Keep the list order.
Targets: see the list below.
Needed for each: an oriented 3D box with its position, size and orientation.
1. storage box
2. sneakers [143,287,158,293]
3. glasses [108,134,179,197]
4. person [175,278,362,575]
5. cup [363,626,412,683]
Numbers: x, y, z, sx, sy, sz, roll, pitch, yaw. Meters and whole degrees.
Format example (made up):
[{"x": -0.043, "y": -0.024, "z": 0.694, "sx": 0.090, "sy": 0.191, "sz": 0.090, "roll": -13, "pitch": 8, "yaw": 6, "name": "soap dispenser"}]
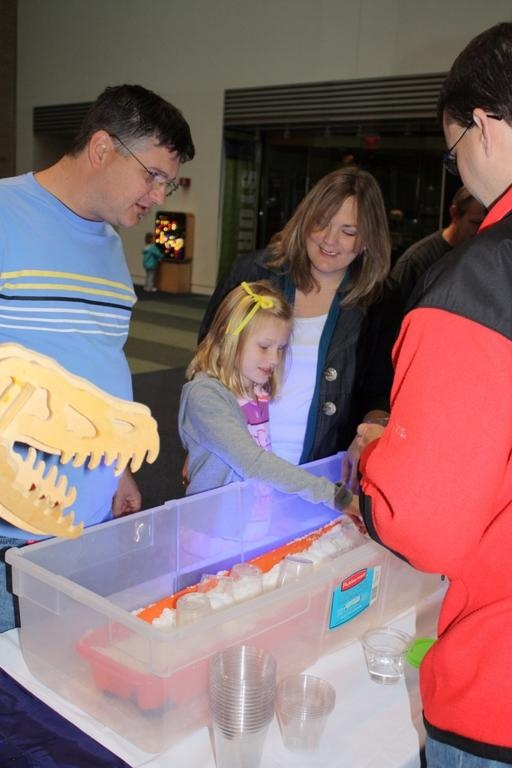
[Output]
[{"x": 0.026, "y": 0.332, "z": 1.168, "sx": 0.359, "sy": 0.192, "sz": 0.761, "roll": 7, "pitch": 12, "yaw": 38, "name": "storage box"}, {"x": -1.849, "y": -1.664, "z": 10.894, "sx": 0.091, "sy": 0.099, "sz": 0.240, "roll": 1, "pitch": 4, "yaw": -33, "name": "sneakers"}, {"x": -0.255, "y": -0.483, "z": 1.358, "sx": 0.096, "sy": 0.028, "sz": 0.093, "roll": 47, "pitch": 7, "yaw": 10, "name": "glasses"}, {"x": -0.042, "y": 0.047, "z": 1.846, "sx": 0.657, "sy": 0.898, "sz": 0.656, "roll": 0, "pitch": 7, "yaw": 0, "name": "person"}, {"x": 0.230, "y": 0.487, "z": 1.100, "sx": 0.082, "sy": 0.059, "sz": 0.079, "roll": -1, "pitch": 5, "yaw": 0, "name": "cup"}]
